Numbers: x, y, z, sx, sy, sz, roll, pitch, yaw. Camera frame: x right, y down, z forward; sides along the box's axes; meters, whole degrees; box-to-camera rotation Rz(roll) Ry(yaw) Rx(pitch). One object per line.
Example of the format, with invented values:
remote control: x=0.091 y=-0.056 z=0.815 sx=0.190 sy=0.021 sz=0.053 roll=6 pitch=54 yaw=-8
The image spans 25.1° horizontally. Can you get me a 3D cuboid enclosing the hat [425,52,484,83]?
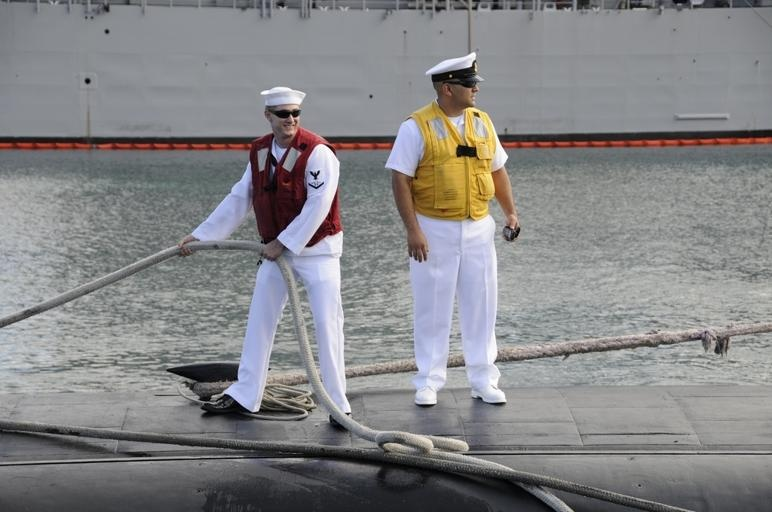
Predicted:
hat: x=1.560 y=-4.293 z=39.594 sx=1.062 sy=0.402 sz=0.773 roll=2 pitch=9 yaw=11
